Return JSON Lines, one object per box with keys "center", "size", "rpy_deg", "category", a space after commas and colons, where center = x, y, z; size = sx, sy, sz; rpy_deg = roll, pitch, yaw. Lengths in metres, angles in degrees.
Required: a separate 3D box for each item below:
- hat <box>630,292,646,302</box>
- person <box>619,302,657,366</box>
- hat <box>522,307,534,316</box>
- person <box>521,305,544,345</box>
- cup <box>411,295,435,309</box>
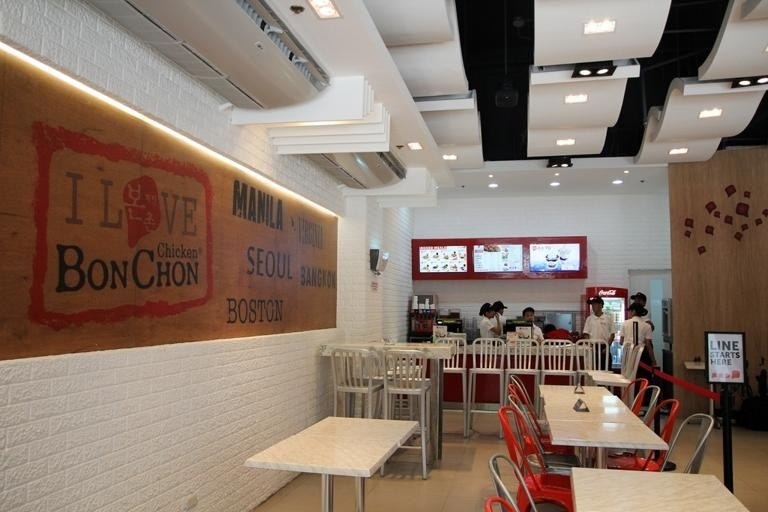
{"center": [5.536, 0.892, 10.793], "size": [0.301, 0.155, 0.181], "rpy_deg": [23, -8, -5], "category": "hat"}
{"center": [4.792, 1.665, 9.243], "size": [0.575, 1.701, 0.477], "rpy_deg": [-8, 17, 29], "category": "person"}
{"center": [3.210, 1.230, 11.018], "size": [0.232, 0.231, 0.294], "rpy_deg": [0, -20, 10], "category": "hat"}
{"center": [3.136, 1.476, 10.426], "size": [0.515, 0.769, 0.297], "rpy_deg": [-4, 24, 49], "category": "person"}
{"center": [0.960, 1.124, 11.949], "size": [0.546, 0.338, 0.293], "rpy_deg": [1, -5, 3], "category": "cup"}
